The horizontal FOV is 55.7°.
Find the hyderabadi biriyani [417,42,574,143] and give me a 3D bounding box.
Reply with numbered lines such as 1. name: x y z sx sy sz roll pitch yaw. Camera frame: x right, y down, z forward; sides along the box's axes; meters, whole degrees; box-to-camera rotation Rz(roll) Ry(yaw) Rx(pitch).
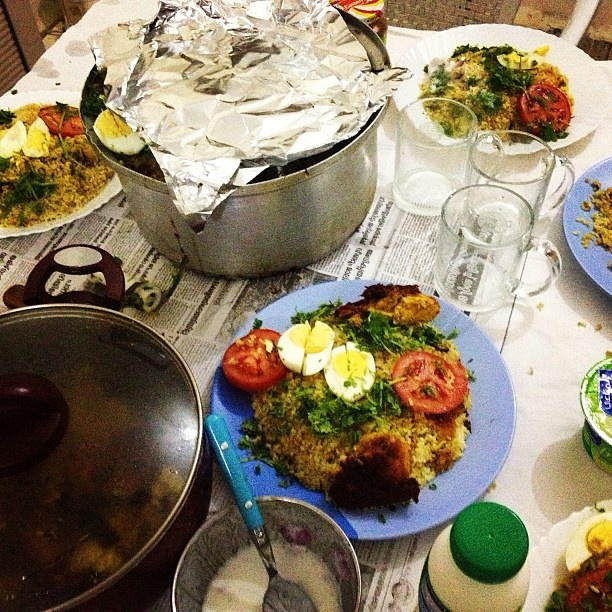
1. hyderabadi biriyani: 0.392 -0.446 1.207 0.226 0.074 0.264 -11 63 -15

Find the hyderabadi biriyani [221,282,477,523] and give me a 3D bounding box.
1. hyderabadi biriyani: 0.069 0.114 0.898 0.366 0.150 0.430 11 31 20
